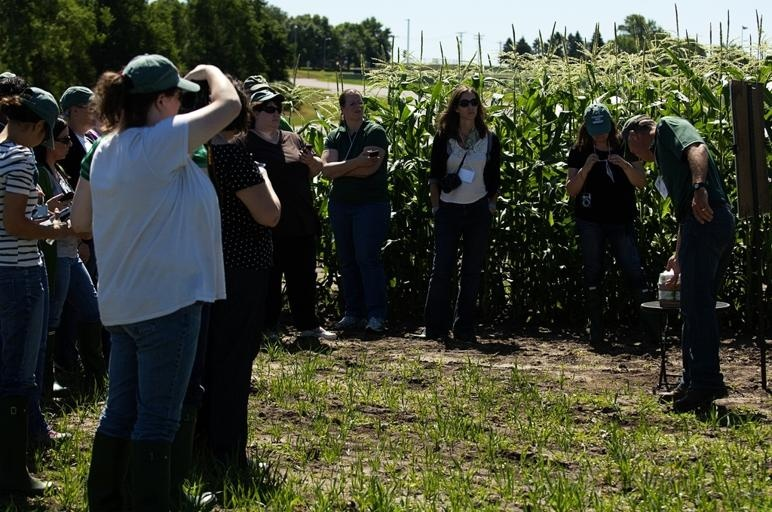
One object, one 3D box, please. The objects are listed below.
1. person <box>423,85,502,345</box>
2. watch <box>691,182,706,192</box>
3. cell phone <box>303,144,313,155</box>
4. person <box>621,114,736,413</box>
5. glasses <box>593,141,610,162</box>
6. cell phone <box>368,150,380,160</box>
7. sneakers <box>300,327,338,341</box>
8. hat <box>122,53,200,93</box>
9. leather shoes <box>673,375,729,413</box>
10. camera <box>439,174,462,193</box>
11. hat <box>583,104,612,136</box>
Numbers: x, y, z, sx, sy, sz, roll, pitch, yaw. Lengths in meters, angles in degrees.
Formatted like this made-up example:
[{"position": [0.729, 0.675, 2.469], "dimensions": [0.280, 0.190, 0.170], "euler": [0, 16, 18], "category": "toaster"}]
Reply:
[{"position": [0.777, -0.406, 8.057], "dimensions": [0.770, 2.598, 0.366], "euler": [1, 9, 3], "category": "person"}, {"position": [2.300, -0.498, 5.739], "dimensions": [0.056, 0.064, 0.058], "euler": [3, -7, -39], "category": "watch"}, {"position": [-0.735, -1.004, 7.404], "dimensions": [0.102, 0.115, 0.193], "euler": [-5, 4, 3], "category": "cell phone"}, {"position": [2.342, 0.070, 5.971], "dimensions": [0.591, 2.213, 0.447], "euler": [3, 10, 19], "category": "person"}, {"position": [2.197, -1.054, 7.946], "dimensions": [0.134, 0.199, 0.045], "euler": [3, 2, 6], "category": "glasses"}, {"position": [-0.113, -1.027, 7.941], "dimensions": [0.117, 0.083, 0.045], "euler": [-8, 12, -40], "category": "cell phone"}, {"position": [-0.678, 0.803, 8.090], "dimensions": [0.382, 0.162, 0.144], "euler": [0, 1, 10], "category": "sneakers"}, {"position": [-1.267, -1.035, 4.417], "dimensions": [0.288, 0.218, 0.439], "euler": [14, 22, 39], "category": "hat"}, {"position": [2.372, 1.086, 6.030], "dimensions": [0.455, 0.224, 0.192], "euler": [-9, 8, 3], "category": "leather shoes"}, {"position": [0.645, -0.730, 7.895], "dimensions": [0.246, 0.195, 0.090], "euler": [7, 12, 35], "category": "camera"}, {"position": [2.090, -1.335, 7.692], "dimensions": [0.216, 0.322, 0.182], "euler": [-7, -32, 15], "category": "hat"}]
